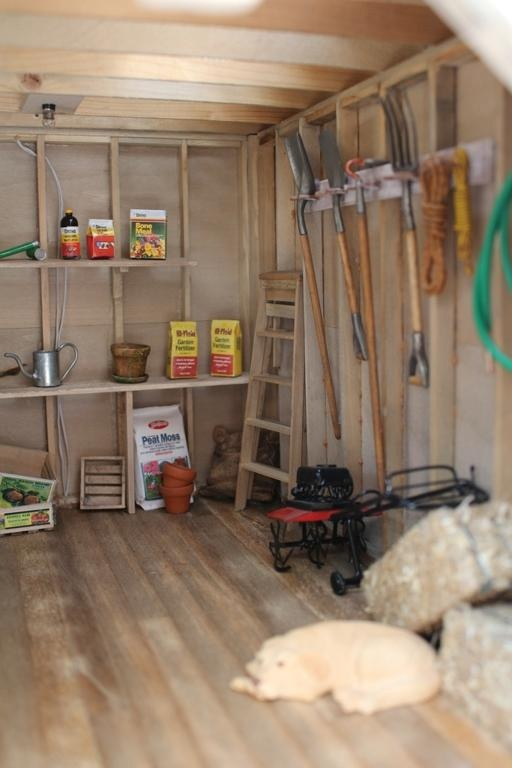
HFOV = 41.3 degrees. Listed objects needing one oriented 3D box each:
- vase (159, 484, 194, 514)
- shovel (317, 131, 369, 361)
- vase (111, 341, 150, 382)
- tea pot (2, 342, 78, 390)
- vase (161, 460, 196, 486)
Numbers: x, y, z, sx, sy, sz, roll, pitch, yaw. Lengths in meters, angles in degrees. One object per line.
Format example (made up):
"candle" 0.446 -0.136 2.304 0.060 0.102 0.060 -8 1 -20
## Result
"vase" -0.412 0.608 3.545 0.159 0.119 0.155 1 7 -1
"shovel" 0.358 -0.551 2.747 0.155 0.925 0.248 -4 7 -24
"vase" -0.678 -0.108 3.617 0.155 0.201 0.213 -7 8 -41
"tea pot" -1.094 -0.096 3.532 0.334 0.218 0.353 -1 6 0
"vase" -0.407 0.472 3.588 0.132 0.090 0.131 15 -4 40
